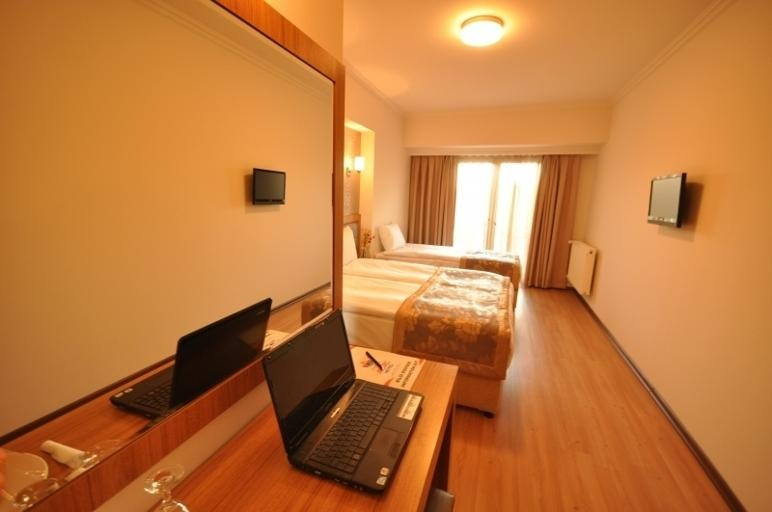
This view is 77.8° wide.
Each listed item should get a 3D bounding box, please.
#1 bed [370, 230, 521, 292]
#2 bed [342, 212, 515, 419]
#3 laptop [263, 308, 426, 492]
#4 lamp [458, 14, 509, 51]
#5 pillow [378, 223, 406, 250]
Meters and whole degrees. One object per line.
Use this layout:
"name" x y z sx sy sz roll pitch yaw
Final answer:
"bed" 0.698 -0.002 5.719 1.474 0.617 0.856 4 17 12
"bed" 0.259 0.431 3.689 1.307 0.991 1.373 2 14 14
"laptop" -0.189 0.638 2.060 0.581 0.555 0.682 8 21 15
"lamp" 0.713 -1.681 3.606 0.351 0.147 0.392 7 11 11
"pillow" 0.050 -0.251 6.110 0.220 0.228 0.575 17 15 9
